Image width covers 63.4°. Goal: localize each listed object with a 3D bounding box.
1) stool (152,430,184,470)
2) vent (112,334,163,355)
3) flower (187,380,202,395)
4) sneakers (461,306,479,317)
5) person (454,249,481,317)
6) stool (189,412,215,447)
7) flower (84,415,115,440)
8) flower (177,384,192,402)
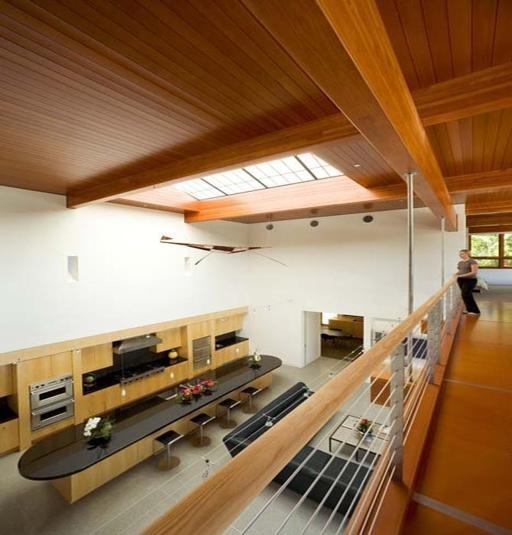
[{"bbox_3d":[-1.335,2.720,6.241,0.420,0.341,0.405,2,3,18],"label":"stool"},{"bbox_3d":[-2.293,1.421,7.968,0.343,0.246,1.100,-1,4,33],"label":"vent"},{"bbox_3d":[-1.087,2.129,7.447,0.229,0.098,0.262,1,-6,6],"label":"flower"},{"bbox_3d":[3.366,0.710,6.497,0.092,0.091,0.253,-1,0,-37],"label":"sneakers"},{"bbox_3d":[3.235,0.228,6.306,0.297,1.015,1.440,-2,3,27],"label":"person"},{"bbox_3d":[-0.935,2.689,6.943,0.426,0.351,0.429,-1,0,12],"label":"stool"},{"bbox_3d":[-2.167,2.178,5.720,0.391,0.156,0.337,3,3,15],"label":"flower"},{"bbox_3d":[-1.264,2.168,7.240,0.252,0.069,0.210,6,7,42],"label":"flower"}]
